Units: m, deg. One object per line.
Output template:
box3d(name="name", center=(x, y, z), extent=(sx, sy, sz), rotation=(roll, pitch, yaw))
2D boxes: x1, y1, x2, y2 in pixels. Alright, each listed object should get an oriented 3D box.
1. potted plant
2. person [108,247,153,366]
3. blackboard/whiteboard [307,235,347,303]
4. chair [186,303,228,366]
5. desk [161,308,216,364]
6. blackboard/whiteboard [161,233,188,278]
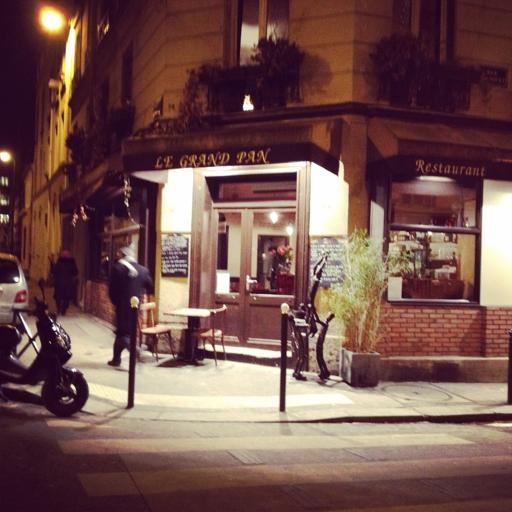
box3d(name="potted plant", center=(1.644, 0.748, 10.940), extent=(0.912, 2.298, 1.039), rotation=(5, 5, 44))
box3d(name="person", center=(-2.098, 0.795, 11.576), extent=(0.524, 1.928, 0.732), rotation=(2, 4, 14))
box3d(name="blackboard/whiteboard", center=(1.152, 0.208, 11.306), extent=(0.690, 1.437, 0.114), rotation=(1, 1, 24))
box3d(name="chair", center=(-0.779, 1.234, 12.127), extent=(0.607, 1.590, 0.787), rotation=(3, 2, 15))
box3d(name="desk", center=(-1.033, 1.411, 12.041), extent=(0.702, 1.049, 0.788), rotation=(-1, -1, 32))
box3d(name="blackboard/whiteboard", center=(-1.482, -0.034, 12.806), extent=(0.554, 1.021, 0.068), rotation=(-2, 38, -12))
